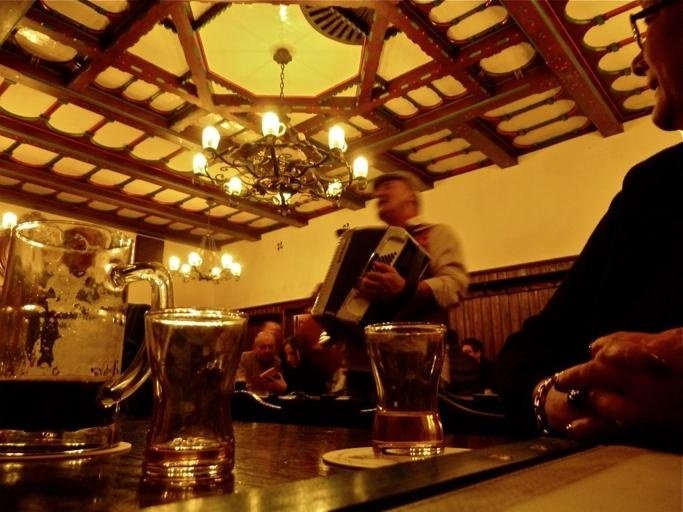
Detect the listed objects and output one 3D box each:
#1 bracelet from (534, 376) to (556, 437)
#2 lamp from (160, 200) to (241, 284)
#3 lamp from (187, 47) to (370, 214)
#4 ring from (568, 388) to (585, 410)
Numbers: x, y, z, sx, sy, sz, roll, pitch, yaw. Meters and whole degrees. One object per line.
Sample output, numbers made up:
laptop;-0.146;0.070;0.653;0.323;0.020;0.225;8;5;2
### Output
bracelet;0.398;0.310;0.986;0.028;0.100;0.076;-3;-5;19
lamp;-2.101;-0.256;7.635;1.052;1.257;1.094;2;-10;-2
lamp;-0.498;-1.057;4.116;1.196;1.291;1.183;-2;-4;-16
ring;0.404;0.246;0.839;0.027;0.033;0.027;3;-7;0
